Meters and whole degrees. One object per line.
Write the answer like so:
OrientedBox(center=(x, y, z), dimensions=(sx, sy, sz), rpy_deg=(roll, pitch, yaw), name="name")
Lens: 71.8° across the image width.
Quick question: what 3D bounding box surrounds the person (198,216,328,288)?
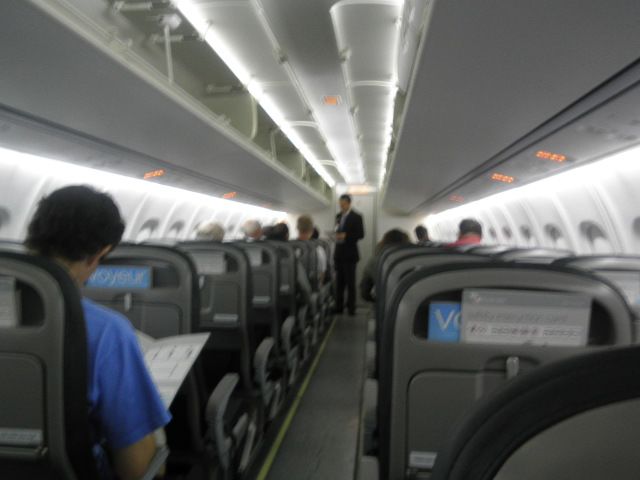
OrientedBox(center=(-0.662, 0.114, 5.521), dimensions=(1.197, 1.161, 0.424), rpy_deg=(0, -17, -7), name="person")
